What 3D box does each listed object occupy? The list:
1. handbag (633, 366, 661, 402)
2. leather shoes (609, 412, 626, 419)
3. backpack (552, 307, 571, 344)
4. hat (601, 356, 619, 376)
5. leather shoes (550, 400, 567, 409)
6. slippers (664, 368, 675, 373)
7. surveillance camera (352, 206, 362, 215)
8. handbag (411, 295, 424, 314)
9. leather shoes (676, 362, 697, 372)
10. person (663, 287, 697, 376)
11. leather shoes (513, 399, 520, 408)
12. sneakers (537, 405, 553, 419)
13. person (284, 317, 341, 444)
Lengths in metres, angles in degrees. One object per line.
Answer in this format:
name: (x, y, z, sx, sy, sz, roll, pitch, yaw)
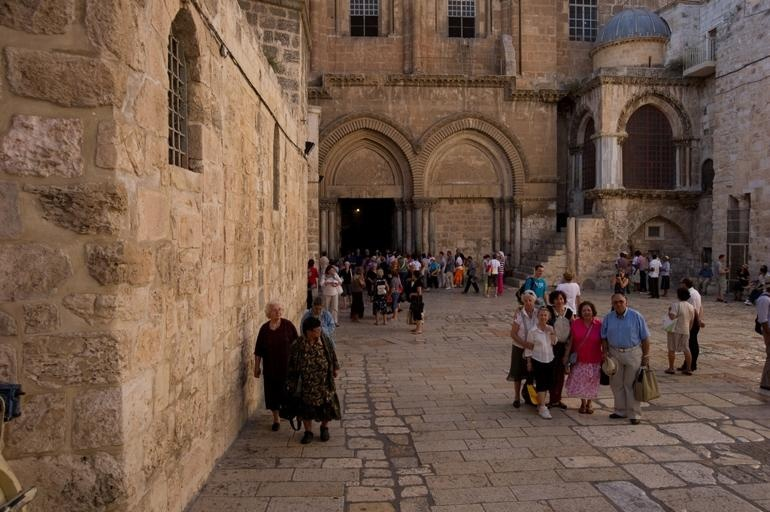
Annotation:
handbag: (3.599, 1.770, 9.803, 0.319, 0.476, 0.231, 3, 8, 18)
leather shoes: (3.325, 2.259, 10.106, 0.201, 0.091, 0.084, 3, 5, 10)
backpack: (2.576, 1.029, 10.506, 0.310, 0.426, 0.150, 5, -10, -7)
hat: (3.160, 1.542, 9.979, 0.086, 0.212, 0.244, 18, 22, -22)
leather shoes: (2.577, 2.204, 10.577, 0.275, 0.114, 0.100, -1, 5, -1)
slippers: (4.939, 1.989, 12.324, 0.072, 0.068, 0.155, 1, 5, 5)
surveillance camera: (-1.251, -1.943, 31.113, 0.332, 0.371, 0.165, 0, 7, -4)
handbag: (0.698, 1.069, 15.763, 0.253, 0.403, 0.333, 0, 8, -3)
leather shoes: (5.291, 1.923, 12.373, 0.376, 0.166, 0.131, 1, 1, 1)
person: (5.132, 1.247, 12.313, 0.473, 1.531, 0.631, 4, 8, 23)
leather shoes: (1.945, 2.173, 10.497, 0.104, 0.080, 0.296, -1, -2, 5)
sneakers: (2.290, 2.204, 10.133, 0.196, 0.169, 0.196, 2, 8, 9)
person: (-0.973, 1.595, 9.256, 0.709, 1.611, 0.332, 0, 7, -7)
